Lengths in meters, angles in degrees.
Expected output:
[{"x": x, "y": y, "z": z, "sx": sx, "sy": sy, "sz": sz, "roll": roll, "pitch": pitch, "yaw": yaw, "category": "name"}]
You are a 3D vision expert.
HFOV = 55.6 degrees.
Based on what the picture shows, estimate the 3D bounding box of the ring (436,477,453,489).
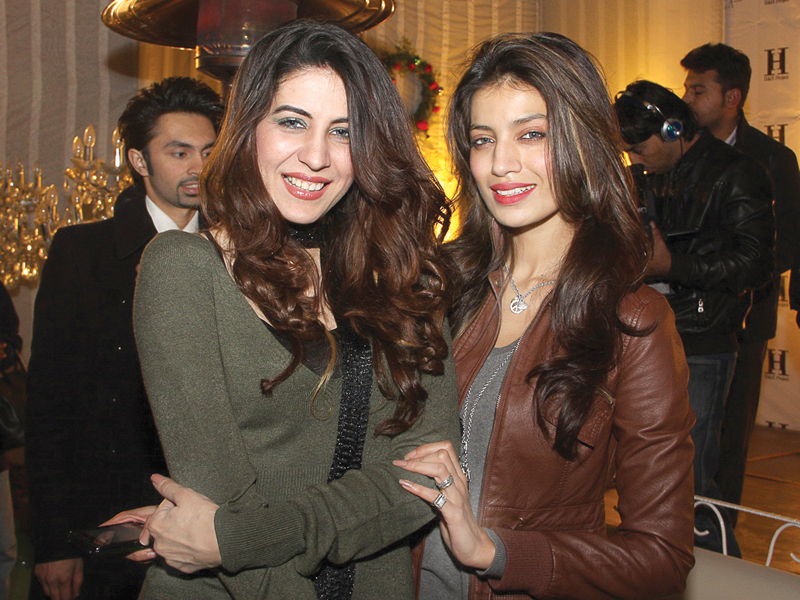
[{"x": 0.117, "y": 0.483, "z": 2.002, "sx": 0.035, "sy": 0.035, "sz": 0.036, "roll": 7, "pitch": -4, "yaw": 1, "category": "ring"}]

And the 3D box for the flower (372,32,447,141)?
[{"x": -0.025, "y": -1.979, "z": 6.883, "sx": 0.227, "sy": 0.626, "sz": 0.691, "roll": -12, "pitch": 1, "yaw": -25, "category": "flower"}]

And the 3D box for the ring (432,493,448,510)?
[{"x": 0.105, "y": 0.530, "z": 2.001, "sx": 0.039, "sy": 0.039, "sz": 0.014, "roll": -43, "pitch": -2, "yaw": 3, "category": "ring"}]

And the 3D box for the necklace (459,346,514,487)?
[{"x": 0.256, "y": 0.351, "z": 2.323, "sx": 0.091, "sy": 0.381, "sz": 0.197, "roll": 14, "pitch": -15, "yaw": -7, "category": "necklace"}]

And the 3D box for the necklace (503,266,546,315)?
[{"x": 0.402, "y": -0.034, "z": 2.467, "sx": 0.129, "sy": 0.125, "sz": 0.037, "roll": 21, "pitch": 1, "yaw": 33, "category": "necklace"}]

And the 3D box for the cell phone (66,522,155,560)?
[{"x": -0.738, "y": 0.609, "z": 1.922, "sx": 0.170, "sy": 0.040, "sz": 0.092, "roll": 2, "pitch": 43, "yaw": -25, "category": "cell phone"}]
